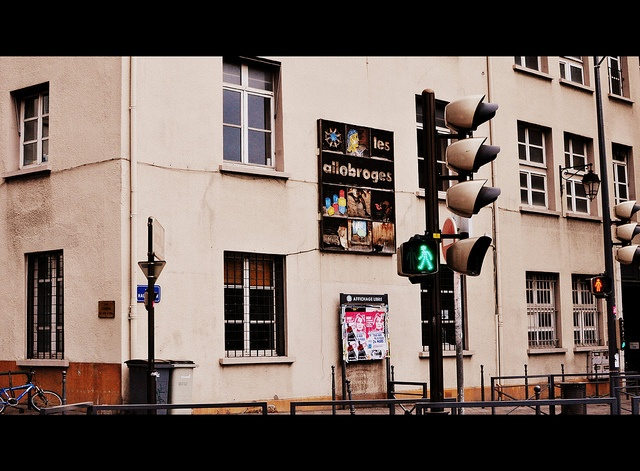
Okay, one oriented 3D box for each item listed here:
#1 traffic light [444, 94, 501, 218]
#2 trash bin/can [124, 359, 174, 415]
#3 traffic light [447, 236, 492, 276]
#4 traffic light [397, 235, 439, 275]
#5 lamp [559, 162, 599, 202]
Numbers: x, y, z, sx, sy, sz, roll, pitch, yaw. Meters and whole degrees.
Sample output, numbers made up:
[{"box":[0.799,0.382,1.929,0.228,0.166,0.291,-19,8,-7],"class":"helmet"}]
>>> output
[{"box":[2.810,-1.411,24.154,1.114,2.205,0.703,1,1,3],"class":"traffic light"},{"box":[-3.364,3.103,27.868,1.060,1.577,1.000,3,-7,-27],"class":"trash bin/can"},{"box":[2.616,0.321,23.998,0.736,0.716,0.529,17,7,-25],"class":"traffic light"},{"box":[1.820,0.311,24.156,0.692,0.720,0.468,-4,17,-8],"class":"traffic light"},{"box":[6.525,-1.321,33.911,1.012,0.889,0.470,-2,-3,32],"class":"lamp"}]
